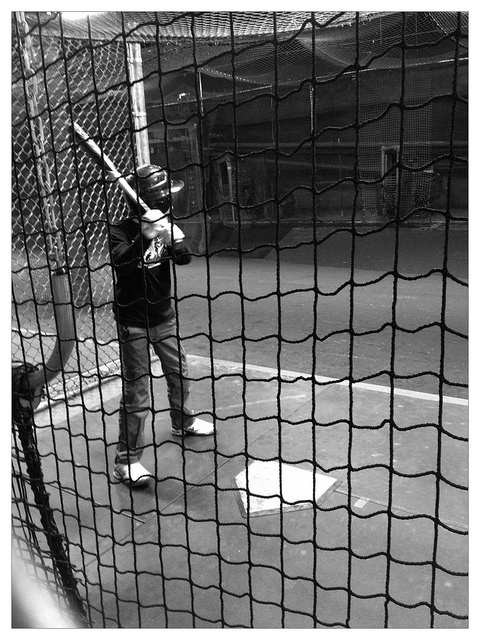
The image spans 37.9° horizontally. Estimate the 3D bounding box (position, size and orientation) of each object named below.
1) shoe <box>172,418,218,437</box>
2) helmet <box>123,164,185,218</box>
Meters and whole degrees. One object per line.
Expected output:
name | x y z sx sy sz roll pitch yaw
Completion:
shoe | -0.267 0.667 4.535 0.345 0.171 0.129 0 2 -4
helmet | -0.419 -0.672 3.646 0.285 0.237 0.254 -14 -61 -14
